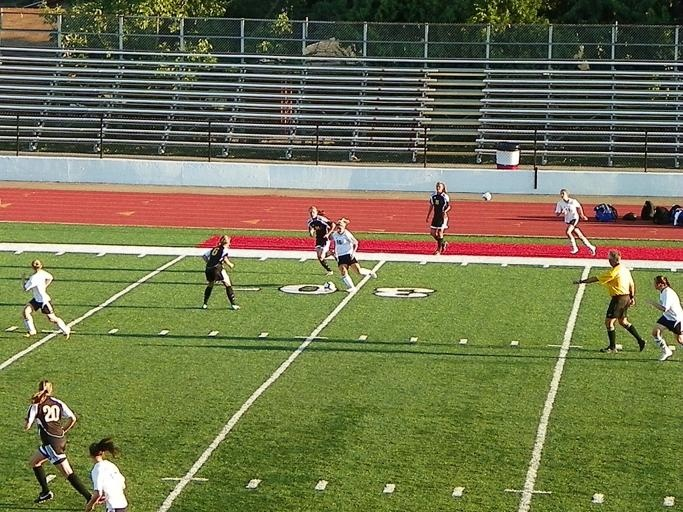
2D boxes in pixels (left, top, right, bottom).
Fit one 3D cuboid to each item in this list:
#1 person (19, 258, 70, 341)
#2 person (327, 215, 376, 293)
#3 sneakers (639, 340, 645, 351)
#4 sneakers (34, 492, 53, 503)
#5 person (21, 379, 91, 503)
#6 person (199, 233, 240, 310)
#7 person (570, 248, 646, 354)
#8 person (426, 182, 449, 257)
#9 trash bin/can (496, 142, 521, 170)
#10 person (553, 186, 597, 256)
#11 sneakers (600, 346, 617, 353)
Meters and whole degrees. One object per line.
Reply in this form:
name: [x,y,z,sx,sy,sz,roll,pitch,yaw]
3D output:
person: [-5.030,0.704,15.865,0.715,1.361,0.924,-5,13,-21]
person: [0.253,-0.087,19.202,0.869,1.543,1.190,1,12,5]
sneakers: [4.914,1.479,15.323,0.096,0.188,0.107,10,-7,-27]
sneakers: [-3.466,2.849,10.851,0.209,0.104,0.085,-24,29,23]
person: [-3.266,2.155,10.738,0.830,1.414,0.378,5,13,20]
person: [-2.390,0.168,18.340,0.701,1.488,2.376,-2,13,-8]
person: [4.468,0.747,15.174,0.958,1.719,0.353,-2,12,-10]
person: [2.330,-0.946,22.489,0.481,1.712,0.994,1,12,5]
trash bin/can: [5.735,-3.468,32.214,0.850,0.937,0.879,0,7,-6]
person: [5.667,-0.876,22.494,0.939,1.599,1.599,3,13,15]
sneakers: [4.372,1.552,15.261,0.279,0.133,0.106,2,5,7]
